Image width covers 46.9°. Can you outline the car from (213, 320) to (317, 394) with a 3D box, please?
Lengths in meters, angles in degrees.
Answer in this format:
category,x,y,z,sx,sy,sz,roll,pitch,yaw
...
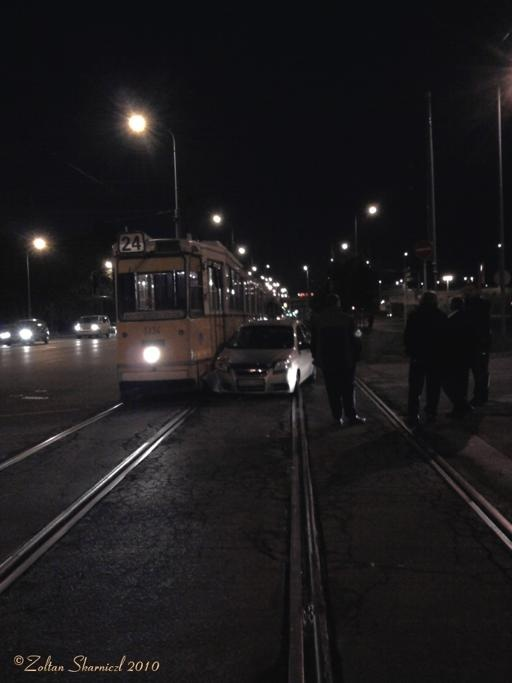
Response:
category,x,y,z,sx,sy,sz,roll,pitch,yaw
car,0.211,0.363,12.050,1.767,1.544,2.396,-2,3,18

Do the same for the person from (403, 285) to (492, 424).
category,x,y,z,sx,sy,sz,roll,pitch,yaw
person,2.609,0.224,8.406,1.291,1.854,0.669,-4,3,-41

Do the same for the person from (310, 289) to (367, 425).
category,x,y,z,sx,sy,sz,roll,pitch,yaw
person,1.134,0.283,8.447,0.683,1.913,0.494,-2,2,6

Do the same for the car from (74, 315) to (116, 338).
category,x,y,z,sx,sy,sz,roll,pitch,yaw
car,-14.751,-1.291,54.517,1.580,2.096,3.657,-1,4,33
